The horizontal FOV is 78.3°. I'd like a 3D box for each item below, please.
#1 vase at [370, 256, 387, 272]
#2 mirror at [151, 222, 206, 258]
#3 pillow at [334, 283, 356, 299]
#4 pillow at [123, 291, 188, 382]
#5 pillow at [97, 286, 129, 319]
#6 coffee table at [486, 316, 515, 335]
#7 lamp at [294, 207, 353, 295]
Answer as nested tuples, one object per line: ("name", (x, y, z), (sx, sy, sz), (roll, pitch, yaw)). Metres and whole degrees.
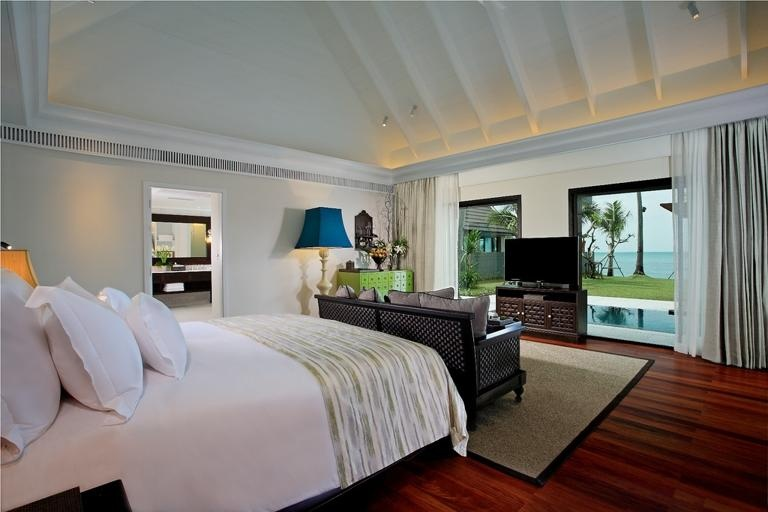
("vase", (-0.075, 0.135, 8.135), (0.235, 0.226, 0.235), (-2, -2, -7))
("mirror", (-4.425, -0.351, 10.004), (0.032, 0.642, 0.916), (-3, -1, 40))
("pillow", (-0.467, 0.421, 5.761), (0.222, 0.121, 0.305), (1, -4, -1))
("pillow", (-1.677, 0.557, 3.633), (0.500, 0.664, 0.895), (0, 4, -22))
("pillow", (-2.169, 0.371, 3.746), (0.049, 0.168, 0.152), (-42, 30, -5))
("coffee table", (1.111, 0.659, 4.577), (0.158, 0.106, 0.217), (-1, 0, -37))
("lamp", (-0.958, -0.071, 7.298), (0.661, 1.331, 0.661), (1, 2, 36))
